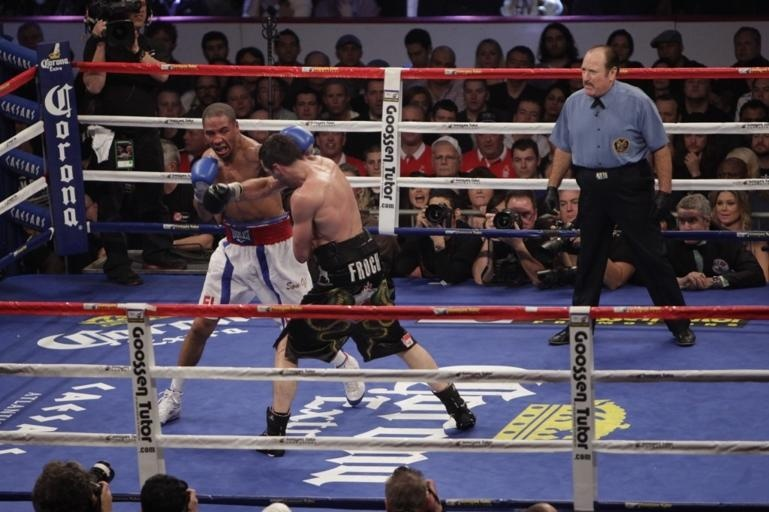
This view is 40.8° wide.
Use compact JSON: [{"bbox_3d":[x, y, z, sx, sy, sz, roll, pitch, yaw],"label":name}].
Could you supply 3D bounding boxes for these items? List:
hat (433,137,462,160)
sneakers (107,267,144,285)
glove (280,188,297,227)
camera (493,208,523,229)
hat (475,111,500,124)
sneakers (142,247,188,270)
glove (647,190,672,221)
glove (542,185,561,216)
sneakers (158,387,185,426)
[{"bbox_3d":[0.588,-0.985,9.459,0.238,0.096,0.256,5,2,9],"label":"hat"},{"bbox_3d":[-2.152,0.178,8.507,0.318,0.132,0.142,0,7,2],"label":"sneakers"},{"bbox_3d":[-0.819,-0.394,8.911,0.202,0.374,0.347,0,-8,-4],"label":"glove"},{"bbox_3d":[0.981,-0.281,8.274,0.232,0.113,0.211,-11,-8,19],"label":"camera"},{"bbox_3d":[0.952,-1.281,9.565,0.246,0.080,0.299,0,0,7],"label":"hat"},{"bbox_3d":[-1.912,0.055,8.924,0.482,0.135,0.156,0,2,-9],"label":"sneakers"},{"bbox_3d":[1.952,-0.348,7.268,0.123,0.202,0.221,4,8,25],"label":"glove"},{"bbox_3d":[1.202,-0.388,7.503,0.196,0.178,0.071,1,-8,-20],"label":"glove"},{"bbox_3d":[-1.373,0.962,6.682,0.130,0.214,0.326,2,7,14],"label":"sneakers"}]
